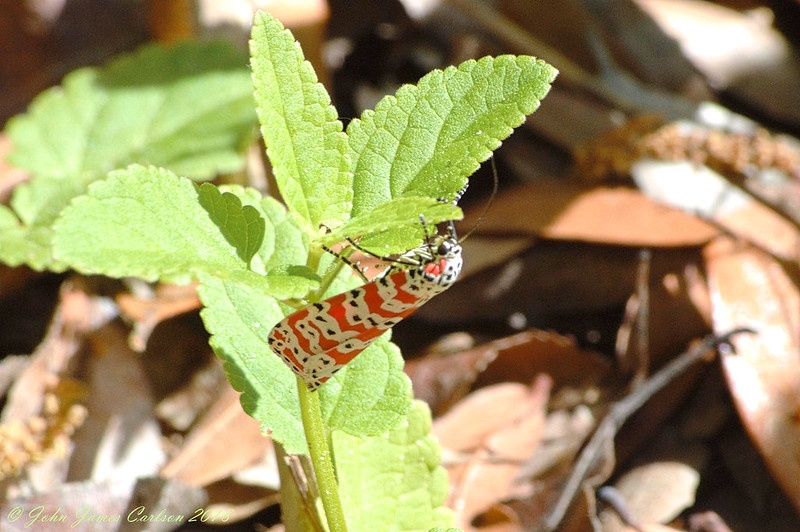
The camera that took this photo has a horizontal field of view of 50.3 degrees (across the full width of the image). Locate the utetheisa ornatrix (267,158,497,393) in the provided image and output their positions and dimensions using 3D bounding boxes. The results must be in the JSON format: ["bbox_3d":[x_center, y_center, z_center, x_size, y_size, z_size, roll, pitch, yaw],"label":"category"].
[{"bbox_3d":[-0.045,0.001,0.949,0.236,0.181,0.078,-37,52,1],"label":"utetheisa ornatrix"}]
